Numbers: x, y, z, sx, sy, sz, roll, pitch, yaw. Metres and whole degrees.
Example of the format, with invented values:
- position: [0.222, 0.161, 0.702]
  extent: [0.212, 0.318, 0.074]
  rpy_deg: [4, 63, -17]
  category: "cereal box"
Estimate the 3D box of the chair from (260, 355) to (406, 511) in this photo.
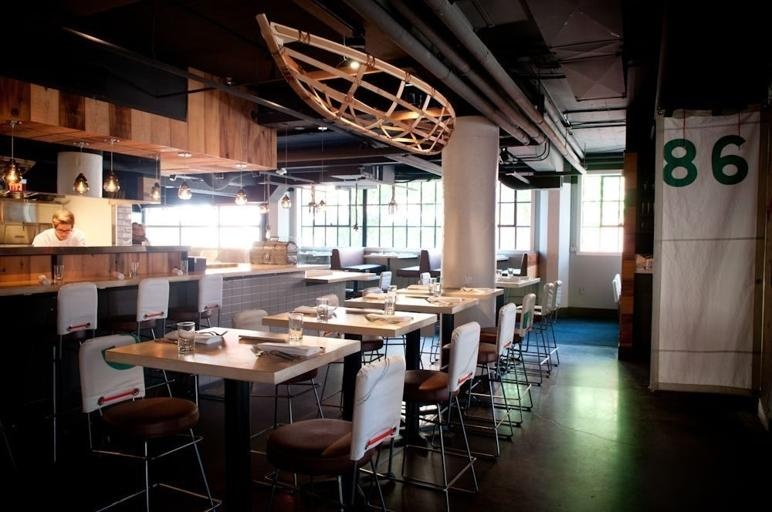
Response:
- position: [-0.397, 1.381, 4.364]
  extent: [0.995, 1.169, 0.449]
  rpy_deg: [0, 3, 13]
  category: "chair"

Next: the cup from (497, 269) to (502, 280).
- position: [2.041, 0.354, 10.121]
  extent: [0.134, 0.195, 0.076]
  rpy_deg: [0, -6, -2]
  category: "cup"

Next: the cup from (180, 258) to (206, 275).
- position: [-2.785, 0.149, 7.984]
  extent: [0.266, 0.173, 0.257]
  rpy_deg: [2, 2, 0]
  category: "cup"

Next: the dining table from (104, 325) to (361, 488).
- position: [-1.241, 1.393, 4.979]
  extent: [1.479, 1.333, 1.434]
  rpy_deg: [1, -2, 10]
  category: "dining table"

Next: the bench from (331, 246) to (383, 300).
- position: [-0.697, 0.603, 15.322]
  extent: [1.083, 1.361, 1.762]
  rpy_deg: [1, 2, 23]
  category: "bench"

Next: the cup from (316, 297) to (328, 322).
- position: [-0.662, 0.538, 5.655]
  extent: [0.117, 0.205, 0.286]
  rpy_deg: [-1, 2, -7]
  category: "cup"

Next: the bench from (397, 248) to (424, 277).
- position: [0.671, 0.218, 13.961]
  extent: [0.695, 0.579, 0.651]
  rpy_deg: [2, 0, 13]
  category: "bench"
